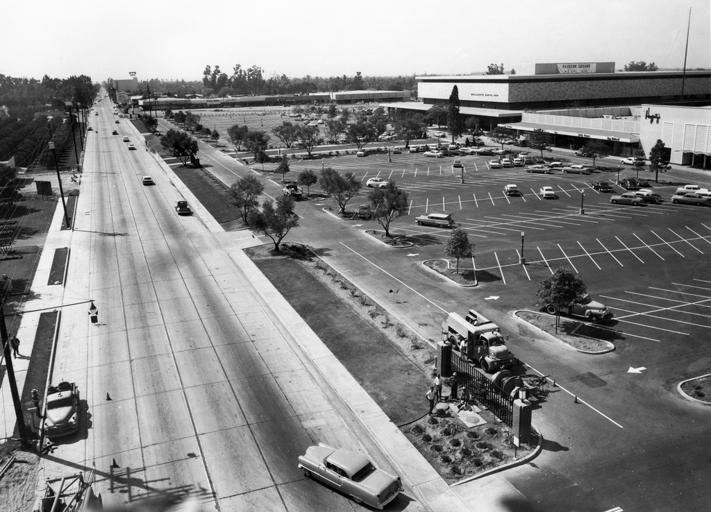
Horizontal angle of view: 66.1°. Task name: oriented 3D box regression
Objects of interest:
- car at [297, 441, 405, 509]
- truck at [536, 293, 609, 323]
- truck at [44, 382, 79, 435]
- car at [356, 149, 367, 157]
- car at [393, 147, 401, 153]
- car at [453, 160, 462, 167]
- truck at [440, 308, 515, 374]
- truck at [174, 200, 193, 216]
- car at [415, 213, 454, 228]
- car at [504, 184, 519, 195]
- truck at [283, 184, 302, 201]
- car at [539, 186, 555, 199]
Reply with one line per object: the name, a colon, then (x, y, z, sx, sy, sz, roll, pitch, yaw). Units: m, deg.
car: (-0.401, 9.774, 24.822, 4.464, 1.199, 2.044, 22, 28, 33)
truck: (15.693, 3.641, 38.755, 5.326, 1.746, 2.339, 6, 28, 19)
truck: (-16.100, 8.500, 29.833, 1.553, 1.519, 3.221, -7, 43, -22)
car: (1.238, -21.821, 116.077, 1.490, 0.914, 2.416, 3, 18, 6)
car: (9.281, -23.514, 121.183, 2.166, 0.826, 3.052, 4, 18, 6)
car: (18.954, -17.035, 100.903, 1.241, 0.845, 2.801, 1, 17, 8)
truck: (7.549, 5.474, 34.045, 2.721, 2.131, 4.828, -14, 28, -26)
truck: (-23.038, -6.348, 72.447, 1.439, 0.844, 2.967, -14, 25, -29)
car: (9.404, -4.079, 63.585, 3.946, 1.281, 1.900, 13, 21, 34)
car: (22.031, -9.205, 76.978, 1.409, 1.056, 2.375, 1, 24, 8)
truck: (-9.154, -9.147, 80.174, 1.916, 1.578, 3.526, -7, 27, -27)
car: (26.485, -8.765, 75.232, 1.293, 1.010, 3.069, 1, 17, 8)
